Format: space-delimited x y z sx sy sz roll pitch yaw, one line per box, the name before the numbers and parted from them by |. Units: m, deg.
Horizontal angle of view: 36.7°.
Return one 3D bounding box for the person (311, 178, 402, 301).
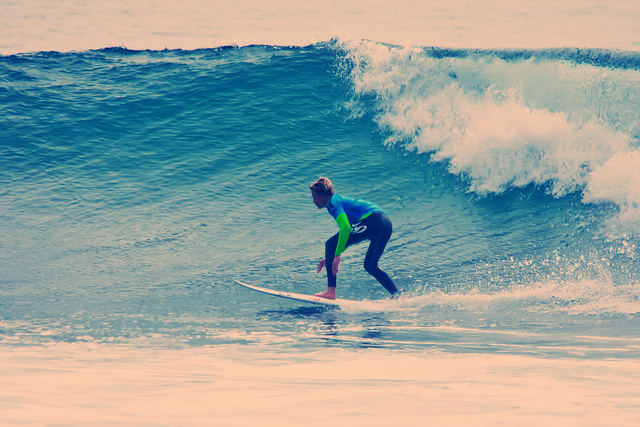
person | 0.747 0.589 20.714 1.815 2.709 0.867 0 22 -3
